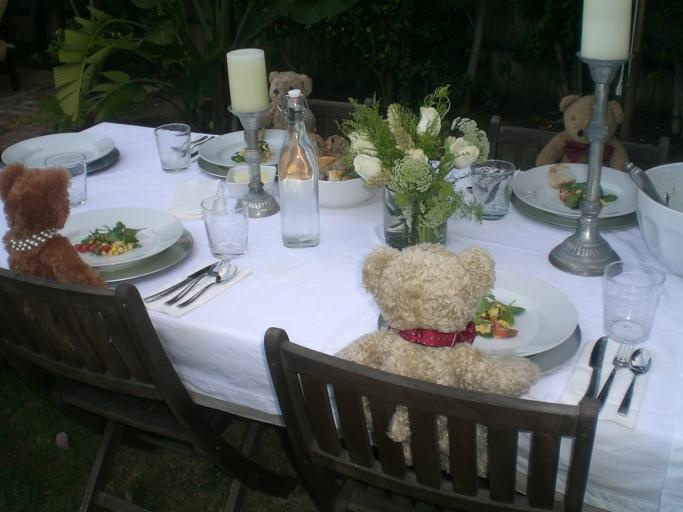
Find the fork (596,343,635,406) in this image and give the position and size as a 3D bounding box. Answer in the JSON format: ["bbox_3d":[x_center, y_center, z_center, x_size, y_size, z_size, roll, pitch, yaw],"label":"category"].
[{"bbox_3d":[0.530,0.232,1.035,0.023,0.020,0.168,10,48,43],"label":"fork"}]

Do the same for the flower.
[{"bbox_3d":[0.180,-0.210,1.503,0.406,0.479,0.374,6,16,41],"label":"flower"}]

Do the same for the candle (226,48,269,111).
[{"bbox_3d":[-0.274,-0.550,1.667,0.151,0.195,0.163,-4,23,-2],"label":"candle"}]

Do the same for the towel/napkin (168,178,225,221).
[{"bbox_3d":[-0.489,-0.207,1.762,0.314,0.178,0.025,4,10,44],"label":"towel/napkin"}]

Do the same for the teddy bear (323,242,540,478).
[{"bbox_3d":[0.184,0.170,1.126,0.429,0.486,0.290,6,25,10],"label":"teddy bear"}]

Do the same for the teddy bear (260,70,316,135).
[{"bbox_3d":[-0.252,-0.706,2.463,0.229,0.295,0.185,6,35,2],"label":"teddy bear"}]

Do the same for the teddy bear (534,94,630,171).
[{"bbox_3d":[1.001,-0.462,2.163,0.318,0.357,0.260,18,52,32],"label":"teddy bear"}]

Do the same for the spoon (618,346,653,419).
[{"bbox_3d":[0.564,0.244,1.022,0.036,0.025,0.172,11,44,37],"label":"spoon"}]
